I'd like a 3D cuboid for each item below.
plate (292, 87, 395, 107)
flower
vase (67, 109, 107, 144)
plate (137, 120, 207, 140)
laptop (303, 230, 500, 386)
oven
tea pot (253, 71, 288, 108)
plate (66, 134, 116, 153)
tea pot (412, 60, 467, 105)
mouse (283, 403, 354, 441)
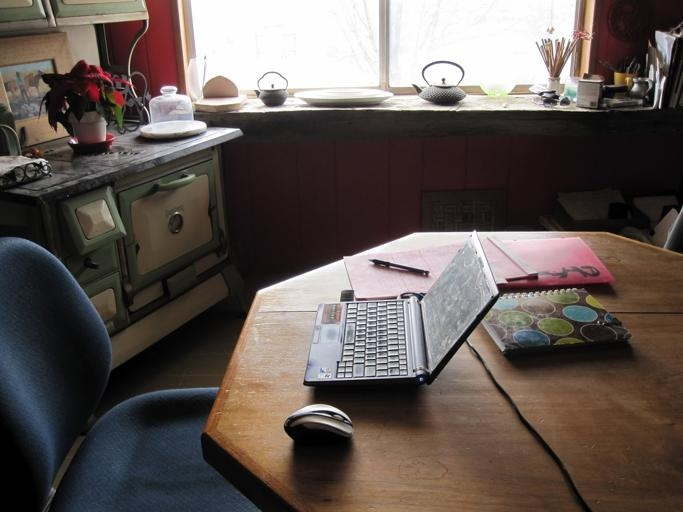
[{"bbox_3d":[0.007,-0.886,2.858,0.510,0.075,0.367,-4,23,-2],"label":"plate"},{"bbox_3d":[-1.110,-0.659,2.189,0.307,0.368,0.351,17,23,27],"label":"flower"},{"bbox_3d":[-1.033,-0.535,2.129,0.129,0.091,0.123,1,36,-3],"label":"vase"},{"bbox_3d":[-0.801,-0.606,2.452,0.307,0.056,0.295,-9,24,-15],"label":"plate"},{"bbox_3d":[0.114,0.104,1.294,0.597,0.294,0.583,1,21,4],"label":"laptop"},{"bbox_3d":[-0.647,-0.043,2.291,0.401,0.717,0.423,13,25,24],"label":"oven"},{"bbox_3d":[-0.394,-0.962,2.926,0.202,0.174,0.405,-5,23,-5],"label":"tea pot"},{"bbox_3d":[-1.059,-0.466,2.171,0.123,0.034,0.118,-5,28,-12],"label":"plate"},{"bbox_3d":[0.554,-0.976,2.857,0.280,0.218,0.455,3,24,12],"label":"tea pot"},{"bbox_3d":[-0.040,0.302,0.952,0.145,0.049,0.079,0,2,10],"label":"mouse"}]
